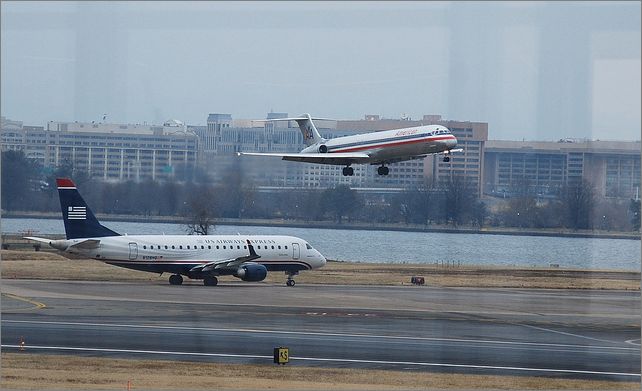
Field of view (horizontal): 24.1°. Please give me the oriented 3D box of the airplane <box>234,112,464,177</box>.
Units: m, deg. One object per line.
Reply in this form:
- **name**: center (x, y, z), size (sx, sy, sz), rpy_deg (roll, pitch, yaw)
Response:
- **airplane**: center (4.159, -4.276, 119.951), size (10.304, 2.563, 10.887), rpy_deg (-6, 1, 44)
